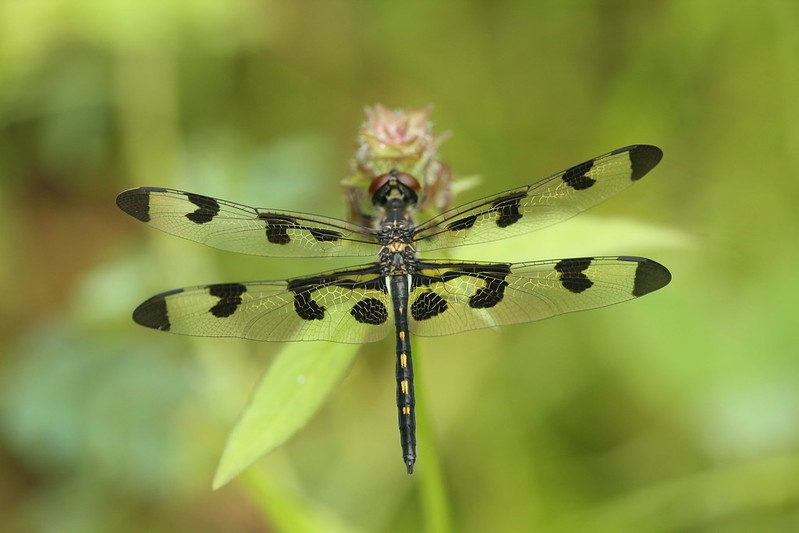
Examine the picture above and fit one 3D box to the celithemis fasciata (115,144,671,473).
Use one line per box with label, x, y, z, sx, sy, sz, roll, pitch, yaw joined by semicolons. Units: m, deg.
celithemis fasciata;-0.003;0.040;3.063;2.023;0.377;0.852;-5;-84;2
